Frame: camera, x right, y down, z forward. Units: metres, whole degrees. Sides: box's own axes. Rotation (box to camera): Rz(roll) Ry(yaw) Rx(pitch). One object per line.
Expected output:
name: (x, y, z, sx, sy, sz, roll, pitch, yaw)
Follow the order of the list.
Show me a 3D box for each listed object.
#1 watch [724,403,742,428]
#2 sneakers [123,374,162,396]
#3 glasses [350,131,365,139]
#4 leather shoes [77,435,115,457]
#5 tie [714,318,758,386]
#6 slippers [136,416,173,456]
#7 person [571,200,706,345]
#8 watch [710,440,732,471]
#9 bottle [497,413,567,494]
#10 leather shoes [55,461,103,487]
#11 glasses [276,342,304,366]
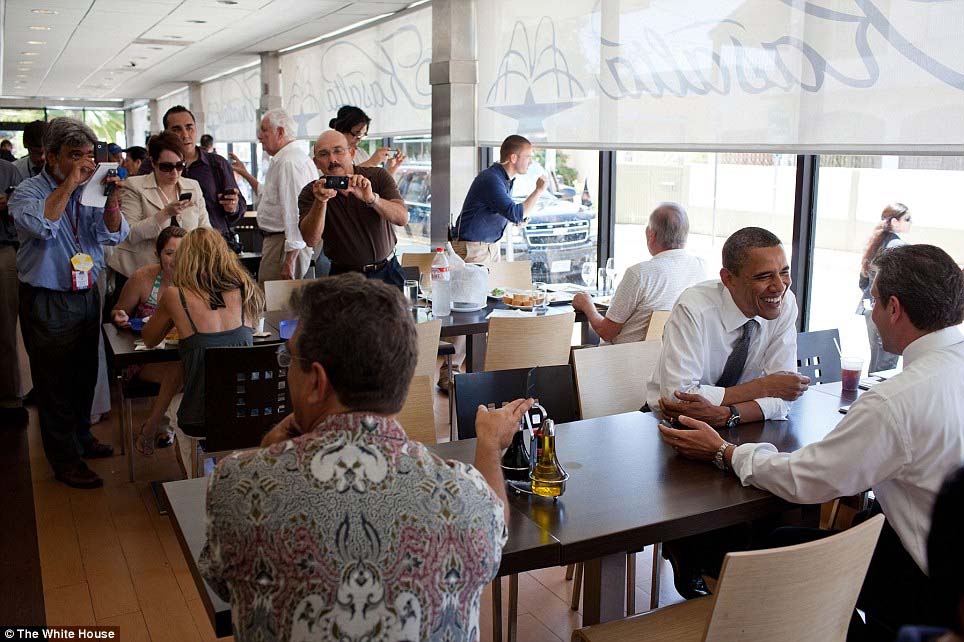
watch: (0.933, 0.358, 2.506, 0.053, 0.083, 0.077, -3, 37, -8)
sneakers: (-1.924, 0.373, 3.773, 0.159, 0.061, 0.147, -6, 11, -41)
glasses: (-1.004, -1.462, 5.336, 0.101, 0.030, 0.098, 11, 17, 31)
leather shoes: (-2.385, 0.789, 4.204, 0.228, 0.096, 0.082, 2, 19, -16)
tie: (1.041, 0.148, 2.757, 0.089, 0.392, 0.062, 15, 8, -4)
slippers: (-1.911, 0.687, 3.938, 0.164, 0.323, 0.138, 11, 48, -27)
person: (0.933, -0.223, 3.970, 0.694, 0.908, 0.650, -7, 19, -25)
watch: (0.791, 0.446, 2.223, 0.085, 0.085, 0.055, -18, 23, -39)
bottle: (0.143, 0.412, 2.041, 0.135, 0.232, 0.258, -4, 4, -42)
leather shoes: (-2.337, 0.899, 3.896, 0.285, 0.113, 0.121, 4, 14, 9)
glasses: (-0.436, 0.077, 1.528, 0.066, 0.038, 0.083, 11, 3, -23)
